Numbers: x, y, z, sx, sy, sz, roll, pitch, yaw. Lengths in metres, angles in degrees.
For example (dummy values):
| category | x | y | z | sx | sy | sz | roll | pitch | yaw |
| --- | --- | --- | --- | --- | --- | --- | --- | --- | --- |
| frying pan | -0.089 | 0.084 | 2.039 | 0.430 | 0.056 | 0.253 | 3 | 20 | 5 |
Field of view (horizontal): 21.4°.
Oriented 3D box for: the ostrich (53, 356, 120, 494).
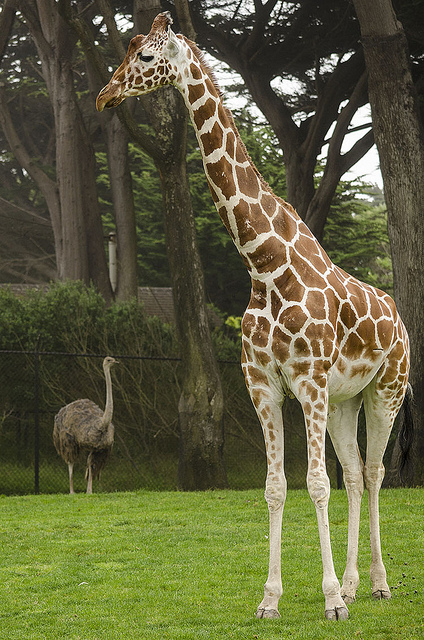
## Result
| category | x | y | z | sx | sy | sz | roll | pitch | yaw |
| --- | --- | --- | --- | --- | --- | --- | --- | --- | --- |
| ostrich | -1.740 | 1.587 | 15.493 | 0.885 | 2.051 | 0.964 | 0 | 5 | -30 |

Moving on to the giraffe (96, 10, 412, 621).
| category | x | y | z | sx | sy | sz | roll | pitch | yaw |
| --- | --- | --- | --- | --- | --- | --- | --- | --- | --- |
| giraffe | 0.622 | -0.077 | 8.874 | 2.439 | 4.699 | 1.153 | 2 | -5 | -38 |
